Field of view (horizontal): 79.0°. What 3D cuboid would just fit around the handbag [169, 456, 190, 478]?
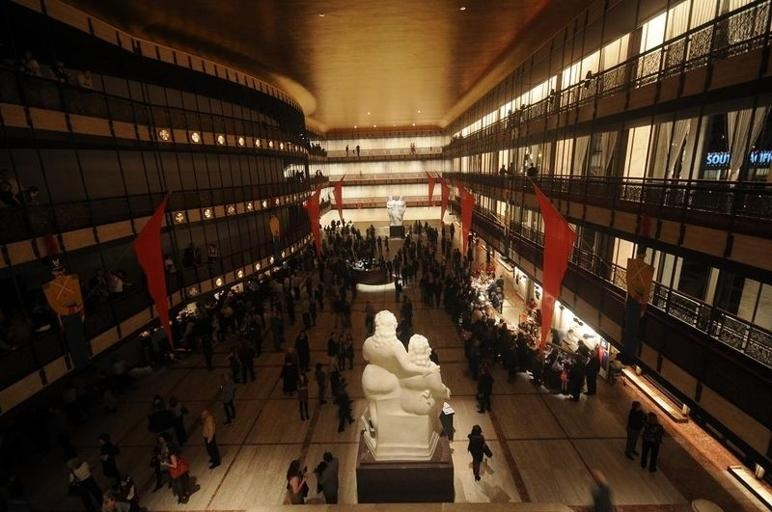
[{"bbox_3d":[-6.665,6.771,14.972,0.584,0.463,0.602,12,-55,-4],"label":"handbag"}]

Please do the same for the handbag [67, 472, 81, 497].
[{"bbox_3d":[-9.569,7.039,14.381,0.262,0.423,0.600,-7,-55,9],"label":"handbag"}]
